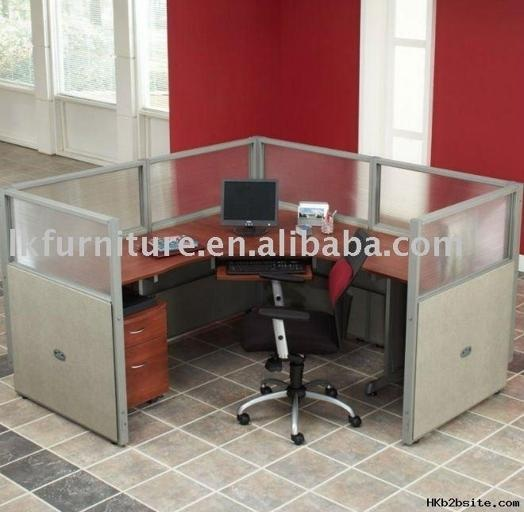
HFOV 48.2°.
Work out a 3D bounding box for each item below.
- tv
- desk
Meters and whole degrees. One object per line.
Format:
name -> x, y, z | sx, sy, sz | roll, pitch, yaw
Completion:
tv -> -0.089, -0.330, 3.857 | 0.473, 0.353, 0.150 | 1, 1, 4
desk -> -0.120, 0.215, 3.367 | 1.337, 0.416, 1.259 | 22, 32, 35
